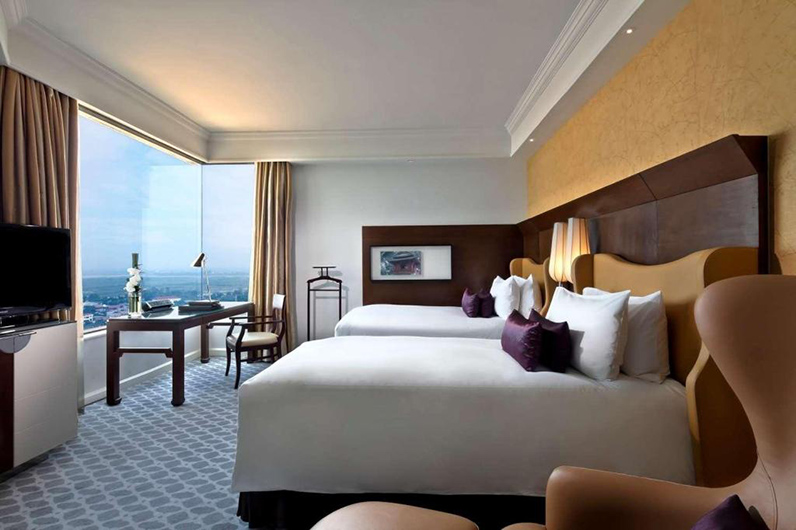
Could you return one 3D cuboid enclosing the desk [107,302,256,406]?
[{"bbox_3d":[-2.597,1.034,6.101,0.792,0.898,1.905,1,-2,-4],"label":"desk"}]

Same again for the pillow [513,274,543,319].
[{"bbox_3d":[1.364,0.358,5.440,0.192,0.332,0.379,17,-2,-8],"label":"pillow"}]

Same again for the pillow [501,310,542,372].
[{"bbox_3d":[0.941,0.598,4.061,0.194,0.377,0.603,2,1,-12],"label":"pillow"}]

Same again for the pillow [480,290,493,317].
[{"bbox_3d":[1.022,0.476,6.012,0.170,0.347,0.335,0,1,11],"label":"pillow"}]

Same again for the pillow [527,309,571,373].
[{"bbox_3d":[1.119,0.591,3.816,0.139,0.291,0.383,17,-7,-9],"label":"pillow"}]

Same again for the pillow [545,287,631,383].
[{"bbox_3d":[1.411,0.511,3.981,0.279,0.645,0.766,12,-4,-24],"label":"pillow"}]

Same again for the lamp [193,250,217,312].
[{"bbox_3d":[-2.408,0.193,6.406,0.408,0.661,0.411,2,1,-36],"label":"lamp"}]

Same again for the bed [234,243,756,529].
[{"bbox_3d":[0.635,1.079,3.949,2.339,1.487,2.440,1,-3,12],"label":"bed"}]

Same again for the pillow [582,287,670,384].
[{"bbox_3d":[1.644,0.548,3.688,0.280,0.509,0.550,26,0,-5],"label":"pillow"}]
